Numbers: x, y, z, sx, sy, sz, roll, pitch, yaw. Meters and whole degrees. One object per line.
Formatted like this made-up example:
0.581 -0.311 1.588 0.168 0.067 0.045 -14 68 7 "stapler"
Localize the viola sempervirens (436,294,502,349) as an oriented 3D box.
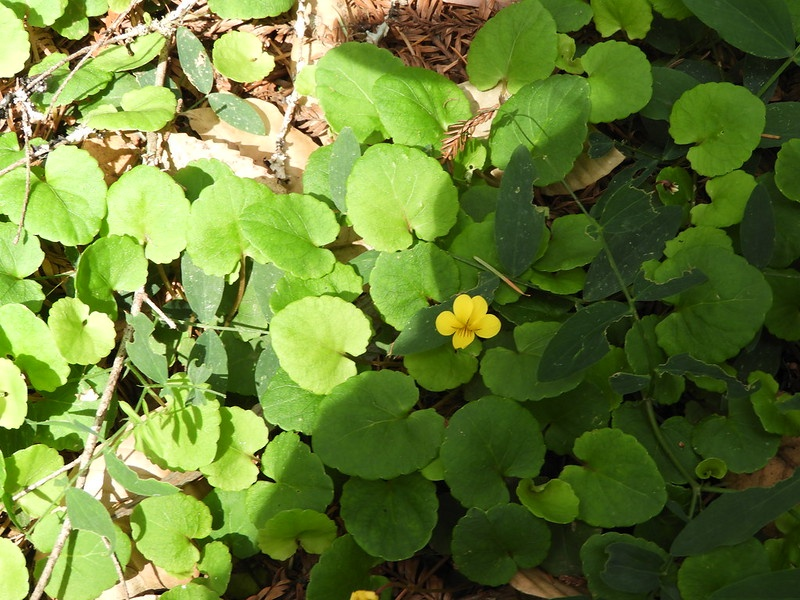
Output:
0.173 0.056 1.793 0.146 0.055 0.144 -21 100 7 "viola sempervirens"
